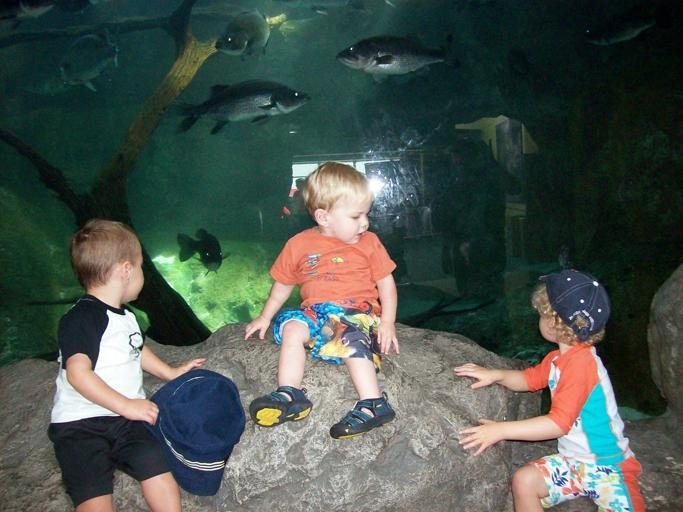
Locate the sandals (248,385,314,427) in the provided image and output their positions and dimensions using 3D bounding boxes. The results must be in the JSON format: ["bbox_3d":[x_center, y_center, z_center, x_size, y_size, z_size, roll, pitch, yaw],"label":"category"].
[{"bbox_3d":[-0.428,1.050,3.913,0.458,0.214,0.209,-3,30,-18],"label":"sandals"}]

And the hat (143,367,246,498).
[{"bbox_3d":[-1.010,1.266,3.914,0.664,0.871,0.260,-8,3,15],"label":"hat"}]

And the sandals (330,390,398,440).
[{"bbox_3d":[0.160,1.101,3.906,0.489,0.196,0.229,-12,0,-24],"label":"sandals"}]

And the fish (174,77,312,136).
[{"bbox_3d":[-1.163,-1.706,6.182,1.602,0.531,0.398,-7,3,18],"label":"fish"}]

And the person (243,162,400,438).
[{"bbox_3d":[-0.195,0.274,4.156,1.253,1.768,0.918,-8,3,4],"label":"person"}]
